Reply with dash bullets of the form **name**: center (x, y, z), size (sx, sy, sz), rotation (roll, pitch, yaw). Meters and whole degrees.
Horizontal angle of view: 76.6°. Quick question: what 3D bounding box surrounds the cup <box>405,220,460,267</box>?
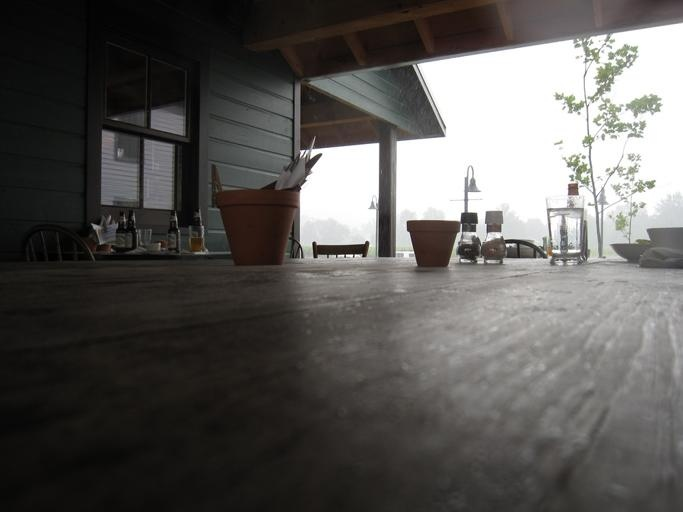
- **cup**: center (0.236, -0.025, 1.101), size (0.112, 0.098, 0.118), rotation (-1, -4, 0)

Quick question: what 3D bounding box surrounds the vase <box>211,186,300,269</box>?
- **vase**: center (-0.210, -0.066, 1.053), size (0.185, 0.157, 0.187), rotation (-1, -1, -25)

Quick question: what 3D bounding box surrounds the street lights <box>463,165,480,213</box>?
- **street lights**: center (2.319, -1.202, 7.763), size (0.282, 0.778, 0.904), rotation (1, 0, 24)

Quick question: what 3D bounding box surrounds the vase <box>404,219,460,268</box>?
- **vase**: center (0.235, -0.026, 1.101), size (0.112, 0.098, 0.118), rotation (-1, -4, 5)

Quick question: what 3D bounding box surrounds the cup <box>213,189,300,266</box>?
- **cup**: center (-0.205, -0.065, 1.058), size (0.190, 0.164, 0.200), rotation (-1, 0, 0)

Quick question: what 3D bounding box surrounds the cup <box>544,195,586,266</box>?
- **cup**: center (0.767, -0.090, 1.484), size (0.123, 0.225, 0.114), rotation (-3, 5, 0)

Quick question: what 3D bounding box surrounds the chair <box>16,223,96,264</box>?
- **chair**: center (-1.681, -0.068, 2.523), size (0.194, 0.264, 0.191), rotation (3, 13, 12)

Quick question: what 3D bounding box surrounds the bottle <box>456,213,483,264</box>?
- **bottle**: center (0.477, -0.066, 1.620), size (0.088, 0.190, 0.090), rotation (-1, 5, 0)
